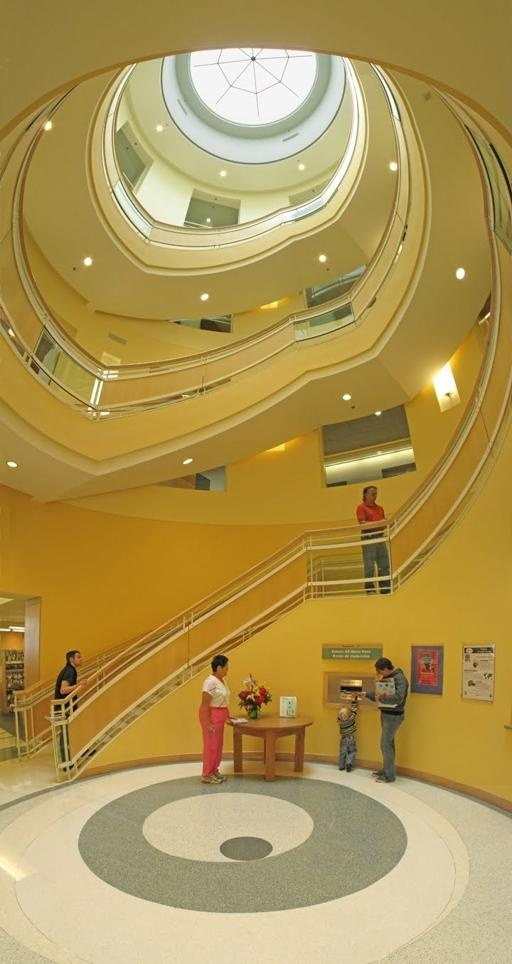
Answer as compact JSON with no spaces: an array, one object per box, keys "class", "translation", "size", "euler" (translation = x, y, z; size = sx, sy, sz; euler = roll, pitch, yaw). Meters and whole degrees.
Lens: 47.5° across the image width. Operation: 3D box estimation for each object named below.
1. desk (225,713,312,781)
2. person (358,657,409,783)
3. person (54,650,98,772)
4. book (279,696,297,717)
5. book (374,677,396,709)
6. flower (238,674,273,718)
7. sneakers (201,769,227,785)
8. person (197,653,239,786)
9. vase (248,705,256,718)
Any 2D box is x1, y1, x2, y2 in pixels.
[{"class":"desk","translation":[0.186,2.856,6.499],"size":[0.771,0.591,0.862],"euler":[-10,-27,22]},{"class":"person","translation":[1.355,2.483,6.055],"size":[0.394,1.256,0.339],"euler":[-2,-5,22]},{"class":"person","translation":[-2.151,2.801,7.005],"size":[0.353,1.358,0.462],"euler":[9,-48,-26]},{"class":"book","translation":[0.379,2.685,6.927],"size":[0.202,0.259,0.054],"euler":[-2,-12,15]},{"class":"book","translation":[1.316,2.189,6.059],"size":[0.236,0.472,0.245],"euler":[-3,-23,14]},{"class":"flower","translation":[-0.018,2.527,6.984],"size":[0.459,0.614,0.532],"euler":[2,-3,1]},{"class":"sneakers","translation":[-0.425,3.097,6.101],"size":[0.274,0.147,0.104],"euler":[-6,-3,22]},{"class":"person","translation":[-0.440,2.582,6.327],"size":[0.324,1.325,0.536],"euler":[0,-5,-4]},{"class":"vase","translation":[-0.041,2.655,6.721],"size":[0.089,0.102,0.151],"euler":[-9,14,-1]}]
